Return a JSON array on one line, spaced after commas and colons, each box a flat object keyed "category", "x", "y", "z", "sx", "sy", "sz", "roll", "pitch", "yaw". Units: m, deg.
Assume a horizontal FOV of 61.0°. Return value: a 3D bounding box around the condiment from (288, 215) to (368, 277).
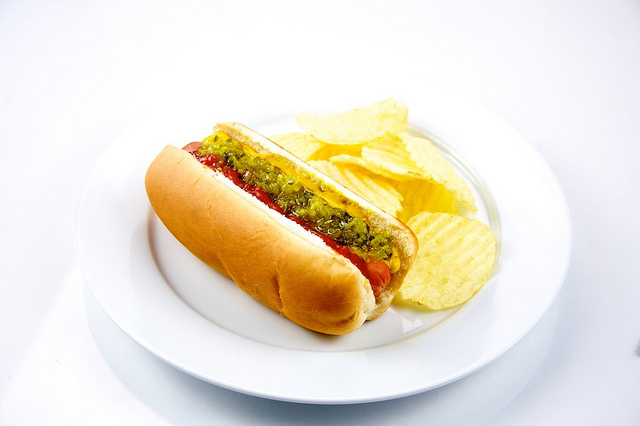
[{"category": "condiment", "x": 0.049, "y": 0.204, "z": 3.181, "sx": 0.098, "sy": 0.499, "sz": 0.117, "roll": -37, "pitch": -27, "yaw": -53}]
